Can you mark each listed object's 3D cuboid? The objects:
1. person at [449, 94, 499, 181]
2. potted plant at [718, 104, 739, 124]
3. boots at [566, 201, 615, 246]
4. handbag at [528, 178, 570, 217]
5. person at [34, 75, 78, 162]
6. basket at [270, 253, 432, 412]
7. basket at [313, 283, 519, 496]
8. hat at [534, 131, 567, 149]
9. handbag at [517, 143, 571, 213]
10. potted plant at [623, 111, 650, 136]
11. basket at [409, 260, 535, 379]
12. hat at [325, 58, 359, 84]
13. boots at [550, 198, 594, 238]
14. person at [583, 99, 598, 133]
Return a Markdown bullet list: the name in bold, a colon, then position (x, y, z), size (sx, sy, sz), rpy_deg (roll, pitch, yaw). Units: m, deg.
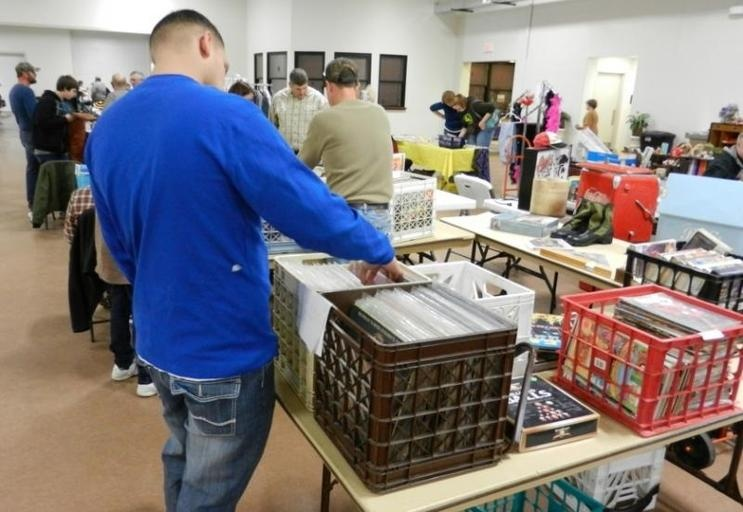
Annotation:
- **person**: position (1.916, -2.084, 9.853), size (0.732, 1.644, 0.686), rpy_deg (-7, -2, 41)
- **potted plant**: position (6.237, -2.493, 9.552), size (0.279, 0.288, 0.451), rpy_deg (11, 19, 28)
- **boots**: position (1.660, -0.243, 4.120), size (0.420, 0.191, 0.255), rpy_deg (-21, 39, -36)
- **handbag**: position (1.472, -0.501, 4.564), size (0.318, 0.307, 0.305), rpy_deg (5, 13, 21)
- **person**: position (-4.392, -1.901, 7.628), size (0.529, 1.170, 1.681), rpy_deg (-6, 18, -21)
- **basket**: position (-0.060, 0.259, 2.308), size (0.644, 0.409, 0.631), rpy_deg (-2, 14, -22)
- **basket**: position (0.117, 0.405, 2.084), size (0.671, 0.546, 0.659), rpy_deg (-7, 18, -26)
- **hat**: position (1.569, -1.032, 4.852), size (0.289, 0.107, 0.200), rpy_deg (-6, 19, -20)
- **handbag**: position (1.490, -0.659, 4.710), size (0.603, 0.542, 0.198), rpy_deg (-13, 20, -40)
- **potted plant**: position (5.503, -2.779, 11.439), size (0.442, 0.502, 0.503), rpy_deg (-6, 18, -16)
- **basket**: position (0.503, 0.236, 2.600), size (0.534, 0.338, 0.524), rpy_deg (-5, 17, -24)
- **hat**: position (-0.209, -1.297, 3.788), size (0.162, 0.183, 0.215), rpy_deg (-5, 43, -13)
- **boots**: position (1.615, -0.303, 4.227), size (0.499, 0.306, 0.157), rpy_deg (-17, 31, -40)
- **person**: position (4.516, -2.873, 11.282), size (0.284, 0.679, 2.125), rpy_deg (8, 17, 20)
